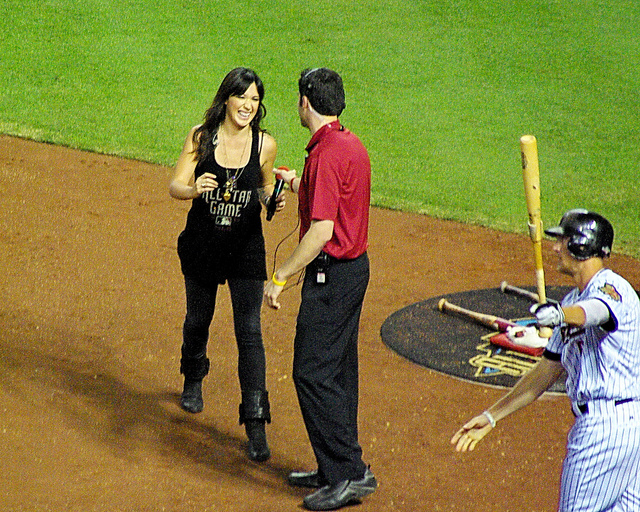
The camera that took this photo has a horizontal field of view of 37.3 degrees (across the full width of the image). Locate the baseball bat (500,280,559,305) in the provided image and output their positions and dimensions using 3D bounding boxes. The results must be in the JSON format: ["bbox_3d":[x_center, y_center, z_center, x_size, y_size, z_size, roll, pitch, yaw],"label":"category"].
[{"bbox_3d":[1.998,0.358,9.104,0.620,0.151,0.162,16,22,36],"label":"baseball bat"}]

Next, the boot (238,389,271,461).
[{"bbox_3d":[-0.493,1.256,7.240,0.219,0.457,0.611,-5,19,-13],"label":"boot"}]

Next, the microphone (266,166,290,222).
[{"bbox_3d":[-0.350,-0.449,7.316,0.109,0.362,0.227,1,16,-11],"label":"microphone"}]

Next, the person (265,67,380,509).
[{"bbox_3d":[0.076,0.250,6.551,0.887,2.914,0.668,8,16,14],"label":"person"}]

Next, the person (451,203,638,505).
[{"bbox_3d":[1.524,0.587,5.673,0.958,1.648,0.591,10,16,19],"label":"person"}]

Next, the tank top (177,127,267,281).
[{"bbox_3d":[-0.757,-0.531,7.253,0.469,1.325,0.551,-2,17,-6],"label":"tank top"}]
